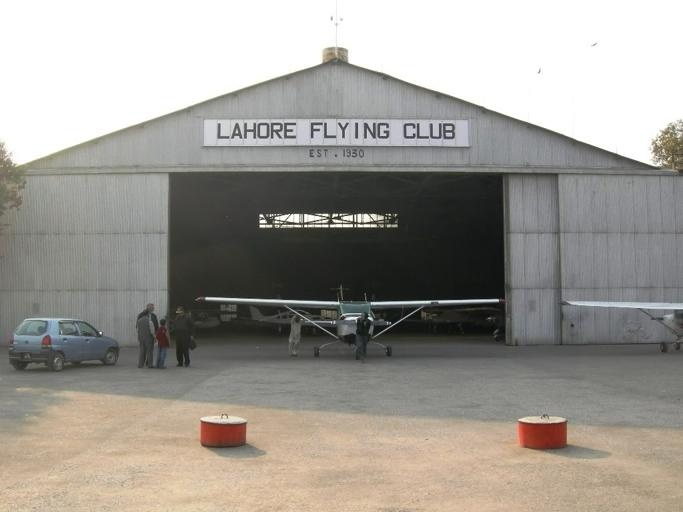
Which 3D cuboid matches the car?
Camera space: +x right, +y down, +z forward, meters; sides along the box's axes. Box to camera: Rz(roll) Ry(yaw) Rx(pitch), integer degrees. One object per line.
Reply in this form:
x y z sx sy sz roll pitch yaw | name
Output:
-8.347 2.622 28.337 1.441 1.170 2.776 -2 0 29 | car

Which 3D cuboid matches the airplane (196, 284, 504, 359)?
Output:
1.141 2.714 44.222 16.725 2.382 26.853 0 -2 -7 | airplane

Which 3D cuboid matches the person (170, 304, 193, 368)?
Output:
-4.907 2.499 29.077 0.507 1.793 0.840 0 -2 -11 | person

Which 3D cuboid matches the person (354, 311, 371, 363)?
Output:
0.692 2.650 31.014 0.485 1.537 1.491 -1 -2 5 | person

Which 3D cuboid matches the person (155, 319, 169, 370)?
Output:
-5.550 2.675 28.950 0.378 1.467 1.304 0 -2 -11 | person
